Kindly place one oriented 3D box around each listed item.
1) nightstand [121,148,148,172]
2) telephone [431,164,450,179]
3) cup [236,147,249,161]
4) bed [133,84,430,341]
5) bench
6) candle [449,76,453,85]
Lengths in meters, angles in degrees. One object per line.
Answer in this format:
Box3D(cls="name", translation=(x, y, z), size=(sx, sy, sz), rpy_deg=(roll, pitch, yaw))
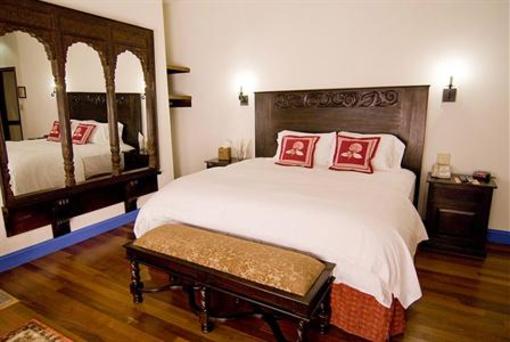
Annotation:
Box3D(cls="nightstand", translation=(-1.824, -0.169, 5.292), size=(0.284, 0.381, 0.426), rpy_deg=(14, 19, 30))
Box3D(cls="telephone", translation=(2.470, 0.005, 4.578), size=(0.170, 0.082, 0.238), rpy_deg=(5, 15, 28))
Box3D(cls="cup", translation=(-0.201, -0.300, 5.901), size=(0.227, 0.267, 0.223), rpy_deg=(-1, 4, 0))
Box3D(cls="bed", translation=(0.572, 0.336, 4.988), size=(3.603, 3.371, 2.643), rpy_deg=(5, 12, 34))
Box3D(cls="bench", translation=(-0.259, 1.123, 3.482), size=(1.979, 0.853, 0.562), rpy_deg=(7, 15, 20))
Box3D(cls="candle", translation=(2.599, -1.189, 4.563), size=(0.044, 0.130, 0.069), rpy_deg=(13, 18, 38))
